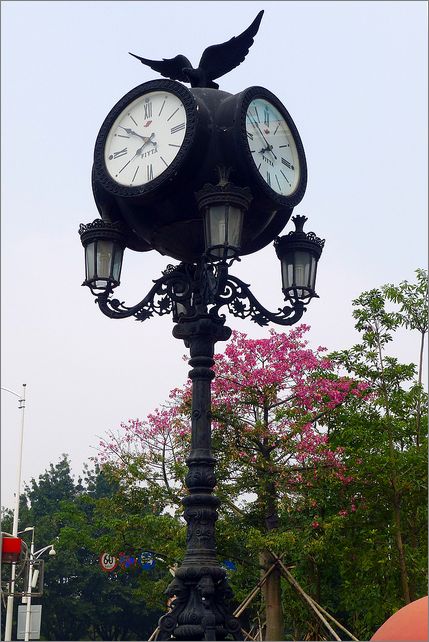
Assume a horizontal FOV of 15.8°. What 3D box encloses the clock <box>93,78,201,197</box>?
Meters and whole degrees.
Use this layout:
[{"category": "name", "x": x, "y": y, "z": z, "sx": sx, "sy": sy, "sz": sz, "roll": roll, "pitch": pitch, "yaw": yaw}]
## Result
[{"category": "clock", "x": -1.123, "y": -2.823, "z": 23.959, "sx": 1.789, "sy": 1.341, "sz": 0.362, "roll": -14, "pitch": -6, "yaw": 24}]
